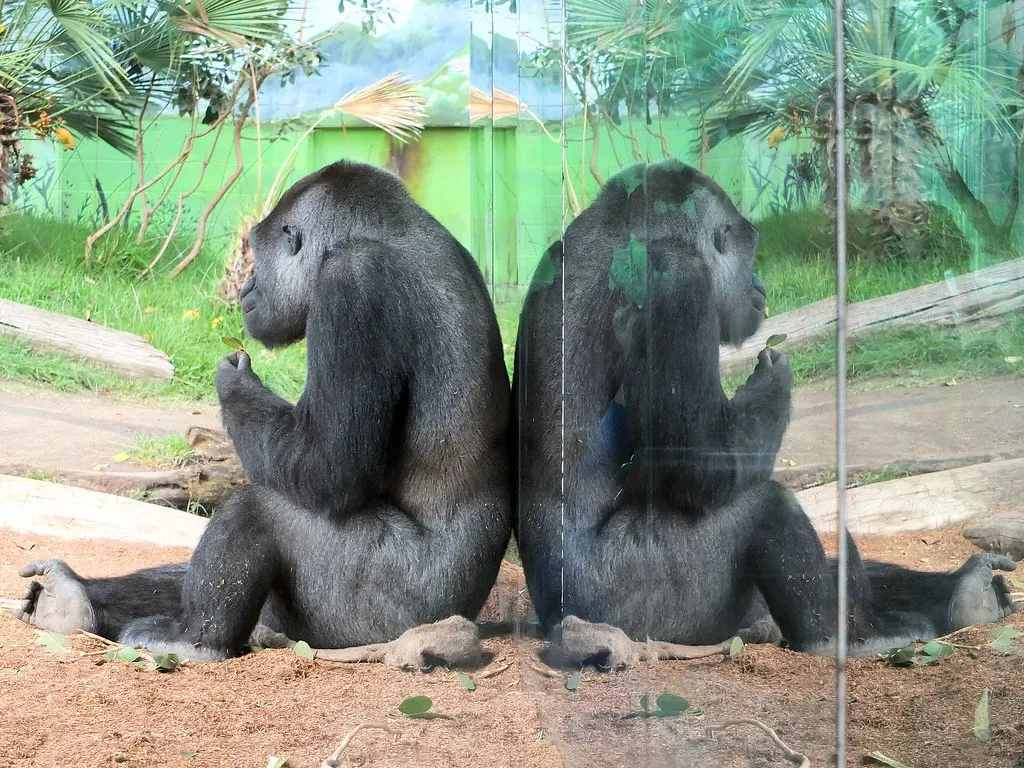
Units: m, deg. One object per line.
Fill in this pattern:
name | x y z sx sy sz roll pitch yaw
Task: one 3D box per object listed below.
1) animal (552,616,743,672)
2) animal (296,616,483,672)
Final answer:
animal | 0.373 0.880 4.344 0.575 0.163 0.211 0 -14 33
animal | -0.392 1.030 5.072 0.404 0.142 0.281 4 -14 3
